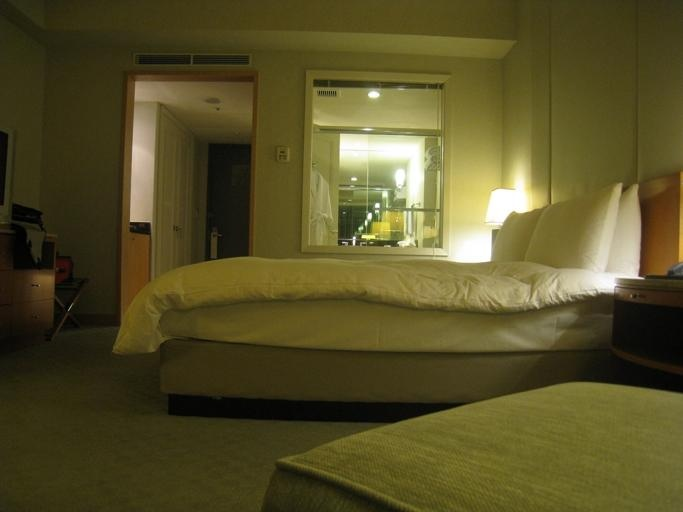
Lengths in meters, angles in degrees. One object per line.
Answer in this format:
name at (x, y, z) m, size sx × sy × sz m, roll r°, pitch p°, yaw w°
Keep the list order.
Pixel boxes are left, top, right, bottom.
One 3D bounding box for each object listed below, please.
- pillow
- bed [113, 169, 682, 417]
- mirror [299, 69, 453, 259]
pillow at (1.407, -0.159, 3.283) m, size 0.233 × 0.292 × 0.670 m, roll 3°, pitch -9°, yaw -20°
bed at (0.413, 0.090, 3.073) m, size 2.142 × 0.972 × 1.589 m, roll 3°, pitch -6°, yaw 3°
mirror at (0.312, -0.892, 5.141) m, size 1.637 × 2.077 × 0.073 m, roll 0°, pitch 2°, yaw -2°
